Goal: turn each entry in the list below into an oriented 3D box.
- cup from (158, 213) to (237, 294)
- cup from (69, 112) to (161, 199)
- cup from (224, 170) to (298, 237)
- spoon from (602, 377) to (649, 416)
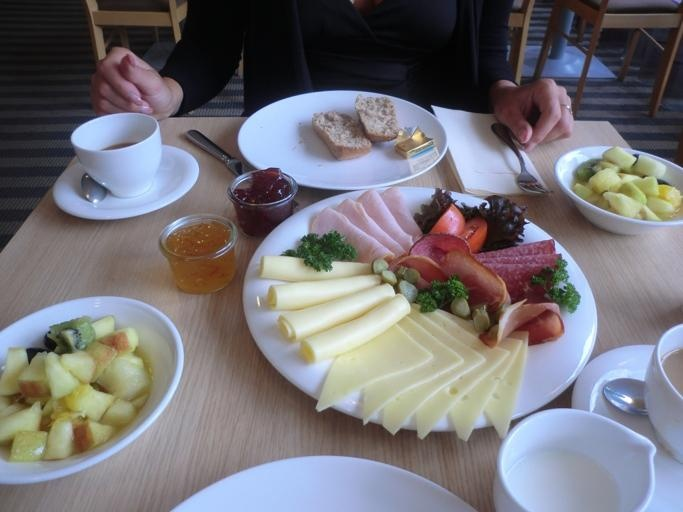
[{"bbox_3d":[-0.339,-0.005,1.166,0.163,0.138,0.188,2,46,-4],"label":"cup"},{"bbox_3d":[-0.600,-0.279,1.349,0.201,0.174,0.247,-2,46,-6],"label":"cup"},{"bbox_3d":[-0.209,-0.146,1.273,0.154,0.125,0.177,3,45,0],"label":"cup"},{"bbox_3d":[0.539,0.271,0.926,0.073,0.098,0.031,-4,86,9],"label":"spoon"}]
